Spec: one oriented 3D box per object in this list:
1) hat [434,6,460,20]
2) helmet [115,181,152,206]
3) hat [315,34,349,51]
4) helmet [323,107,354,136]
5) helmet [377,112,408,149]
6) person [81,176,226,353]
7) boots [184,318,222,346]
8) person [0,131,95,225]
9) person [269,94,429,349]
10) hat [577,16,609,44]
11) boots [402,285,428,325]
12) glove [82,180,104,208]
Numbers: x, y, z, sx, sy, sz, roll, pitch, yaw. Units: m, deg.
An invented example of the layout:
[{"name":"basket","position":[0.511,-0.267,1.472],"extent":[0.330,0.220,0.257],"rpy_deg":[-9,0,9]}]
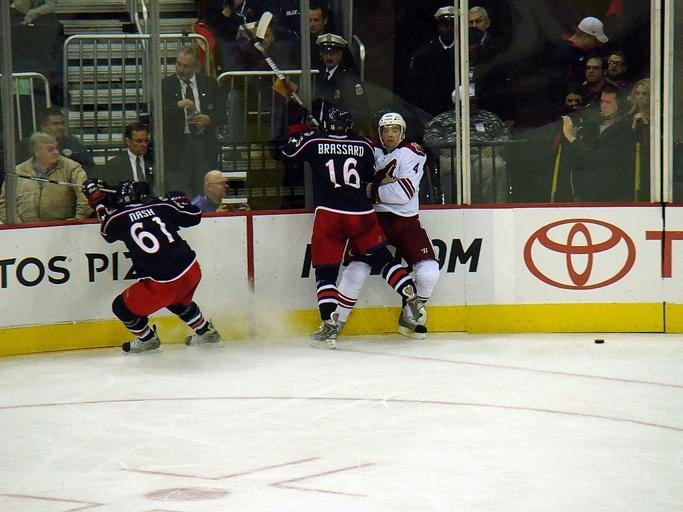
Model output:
[{"name":"hat","position":[0.991,-2.323,8.627],"extent":[0.151,0.114,0.345],"rpy_deg":[-2,0,-7]},{"name":"helmet","position":[-1.765,-0.541,7.668],"extent":[0.235,0.164,0.247],"rpy_deg":[-10,10,-38]},{"name":"hat","position":[-0.099,-1.951,8.335],"extent":[0.298,0.134,0.188],"rpy_deg":[-2,0,2]},{"name":"helmet","position":[-0.034,-1.214,8.199],"extent":[0.250,0.248,0.306],"rpy_deg":[2,-31,-5]},{"name":"helmet","position":[0.442,-1.123,8.138],"extent":[0.250,0.291,0.321],"rpy_deg":[-4,7,8]},{"name":"person","position":[-1.586,0.102,7.804],"extent":[1.032,1.499,0.759],"rpy_deg":[-5,14,-11]},{"name":"boots","position":[-1.174,0.671,7.899],"extent":[0.413,0.266,0.136],"rpy_deg":[0,11,0]},{"name":"person","position":[-2.610,-0.686,7.982],"extent":[0.768,0.810,0.256],"rpy_deg":[-2,0,-12]},{"name":"person","position":[0.049,-0.274,8.039],"extent":[1.148,1.895,0.671],"rpy_deg":[-2,0,-4]},{"name":"hat","position":[2.516,-2.259,9.160],"extent":[0.311,0.157,0.209],"rpy_deg":[22,28,-15]},{"name":"boots","position":[0.631,0.441,7.828],"extent":[0.151,0.365,0.167],"rpy_deg":[-25,-33,-8]},{"name":"glove","position":[-2.074,-0.521,7.709],"extent":[0.179,0.228,0.091],"rpy_deg":[-27,-6,7]}]
